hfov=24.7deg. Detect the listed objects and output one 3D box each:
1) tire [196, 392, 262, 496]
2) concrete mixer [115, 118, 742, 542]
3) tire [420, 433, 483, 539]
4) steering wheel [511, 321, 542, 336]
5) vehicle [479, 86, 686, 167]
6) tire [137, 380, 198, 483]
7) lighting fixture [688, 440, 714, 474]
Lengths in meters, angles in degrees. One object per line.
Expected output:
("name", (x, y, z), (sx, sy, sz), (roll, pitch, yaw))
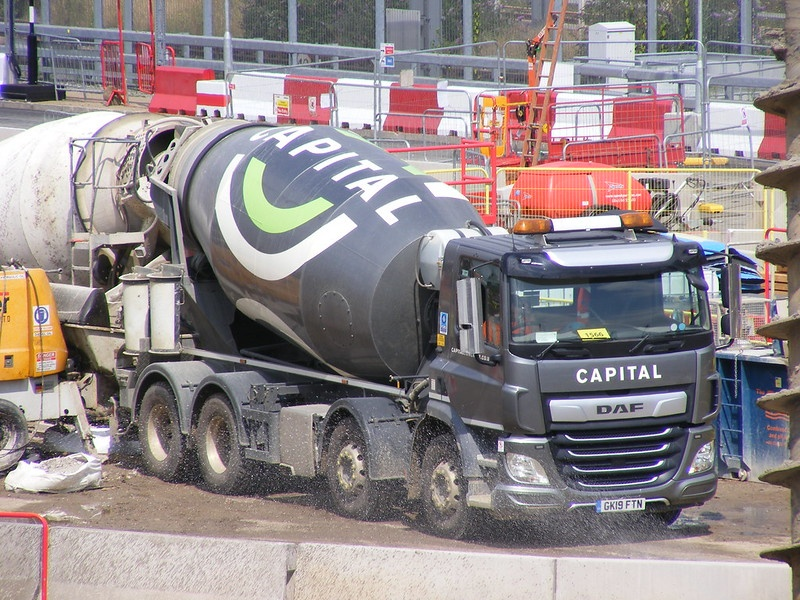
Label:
("tire", (-2.548, 2.100, 25.975), (0.314, 1.265, 1.219), (-6, -25, -31))
("concrete mixer", (-0.344, 0.249, 26.414), (4.013, 5.148, 9.921), (-5, 7, -40))
("tire", (0.620, 2.475, 24.022), (0.298, 1.192, 1.141), (-7, 27, -19))
("steering wheel", (1.605, 0.355, 23.331), (0.276, 0.214, 0.078), (-1, 37, 1))
("vehicle", (3.716, -3.263, 34.739), (2.725, 1.337, 2.129), (0, 3, -25))
("tire", (-3.461, 1.939, 26.828), (0.391, 1.505, 1.423), (-1, -22, -38))
("lighting fixture", (3.947, 2.040, 23.708), (0.286, 0.436, 0.099), (10, -3, -26))
